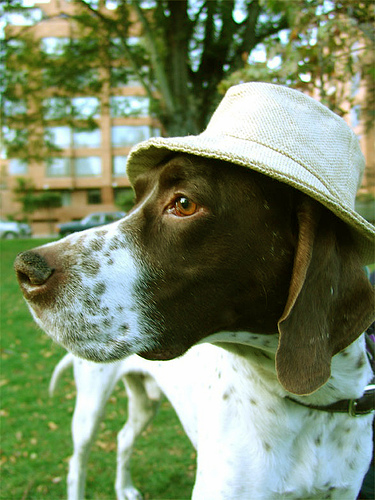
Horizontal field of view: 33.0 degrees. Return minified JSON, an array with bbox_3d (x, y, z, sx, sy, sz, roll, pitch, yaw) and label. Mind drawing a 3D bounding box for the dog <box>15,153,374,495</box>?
[{"bbox_3d":[0.017,0.374,2.700,1.443,1.023,1.645,7,-20,-17],"label":"dog"}]
